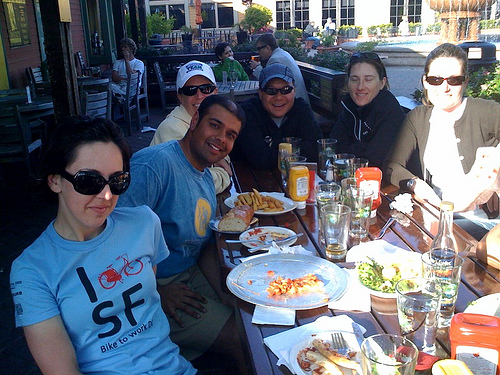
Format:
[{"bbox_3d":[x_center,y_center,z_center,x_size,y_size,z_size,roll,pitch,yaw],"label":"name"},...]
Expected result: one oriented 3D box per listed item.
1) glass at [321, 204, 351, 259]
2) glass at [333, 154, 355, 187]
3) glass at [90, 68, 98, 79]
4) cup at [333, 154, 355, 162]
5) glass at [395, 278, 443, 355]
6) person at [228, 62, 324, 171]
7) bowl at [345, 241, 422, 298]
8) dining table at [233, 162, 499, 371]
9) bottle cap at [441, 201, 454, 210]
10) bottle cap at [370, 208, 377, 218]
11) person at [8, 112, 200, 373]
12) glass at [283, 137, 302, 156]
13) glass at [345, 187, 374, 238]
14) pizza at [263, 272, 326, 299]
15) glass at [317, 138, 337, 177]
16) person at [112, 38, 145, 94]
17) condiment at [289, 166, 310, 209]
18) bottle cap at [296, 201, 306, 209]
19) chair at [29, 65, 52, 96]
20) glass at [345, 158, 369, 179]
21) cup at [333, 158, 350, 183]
[{"bbox_3d":[0.412,0.215,1.726,0.128,0.245,0.105,-1,19,10],"label":"glass"},{"bbox_3d":[0.689,-0.122,2.560,0.126,0.198,0.163,-21,15,-41],"label":"glass"},{"bbox_3d":[-3.367,-2.484,7.739,0.154,0.199,0.572,-11,20,-20],"label":"glass"},{"bbox_3d":[0.696,-0.226,2.641,0.090,0.076,0.102,0,4,3],"label":"cup"},{"bbox_3d":[0.575,0.402,1.221,0.142,0.196,0.254,7,22,30],"label":"glass"},{"bbox_3d":[0.283,-0.486,3.566,0.766,1.405,0.715,-6,10,-12],"label":"person"},{"bbox_3d":[0.594,0.347,1.550,0.289,0.060,0.429,-8,24,15],"label":"bowl"},{"bbox_3d":[0.648,0.446,1.821,0.723,0.275,1.126,-1,28,-5],"label":"dining table"},{"bbox_3d":[0.834,0.070,1.506,0.043,0.033,0.078,8,22,31],"label":"bottle cap"},{"bbox_3d":[0.733,0.151,2.132,0.046,0.044,0.046,-4,16,-3],"label":"bottle cap"},{"bbox_3d":[-0.586,0.313,1.415,0.574,1.143,0.460,-10,20,-17],"label":"person"},{"bbox_3d":[0.365,-0.362,3.035,0.163,0.221,0.151,-5,14,-11],"label":"glass"},{"bbox_3d":[0.598,0.124,1.958,0.133,0.251,0.195,1,19,15],"label":"glass"},{"bbox_3d":[0.186,0.408,1.483,0.170,0.041,0.099,-6,23,-7],"label":"pizza"},{"bbox_3d":[0.626,-0.245,2.909,0.153,0.282,0.397,0,19,12],"label":"glass"},{"bbox_3d":[-3.054,-3.050,8.939,0.813,1.356,1.547,-9,19,-14],"label":"person"},{"bbox_3d":[0.330,-0.009,2.339,0.119,0.253,0.175,5,21,26],"label":"condiment"},{"bbox_3d":[0.333,0.113,2.305,0.047,0.035,0.048,3,16,11],"label":"bottle cap"},{"bbox_3d":[-4.056,-1.980,6.996,0.260,0.311,0.274,-2,17,10],"label":"chair"},{"bbox_3d":[0.689,-0.133,2.371,0.121,0.138,0.143,-3,16,-8],"label":"glass"},{"bbox_3d":[0.635,-0.114,2.473,0.137,0.154,0.096,-4,29,-3],"label":"cup"}]
